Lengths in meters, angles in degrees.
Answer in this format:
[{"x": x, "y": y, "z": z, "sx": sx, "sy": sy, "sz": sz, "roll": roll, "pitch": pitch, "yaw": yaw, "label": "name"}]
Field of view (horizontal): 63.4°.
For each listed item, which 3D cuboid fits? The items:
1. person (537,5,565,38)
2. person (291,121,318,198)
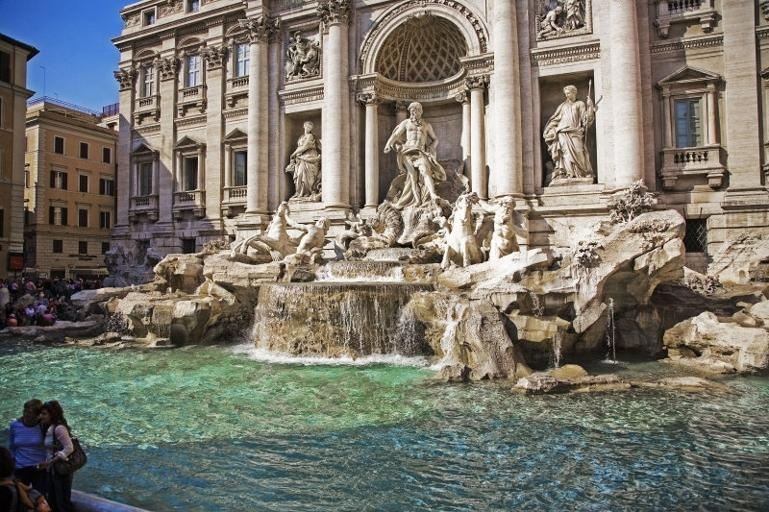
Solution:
[{"x": 6.511, "y": -9.119, "z": 24.362, "sx": 0.939, "sy": 1.248, "sz": 0.444, "roll": 0, "pitch": 10, "yaw": 10, "label": "person"}, {"x": -3.555, "y": -4.254, "z": 27.822, "sx": 1.391, "sy": 3.356, "sz": 1.088, "roll": -2, "pitch": 10, "yaw": -1, "label": "person"}]
